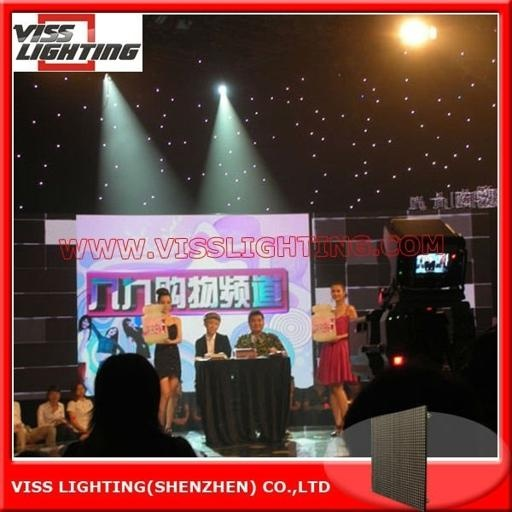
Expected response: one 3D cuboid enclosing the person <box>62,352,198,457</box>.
[{"bbox_3d":[-0.692,0.875,2.934,0.534,0.648,0.856,0,-4,-36],"label":"person"}]
